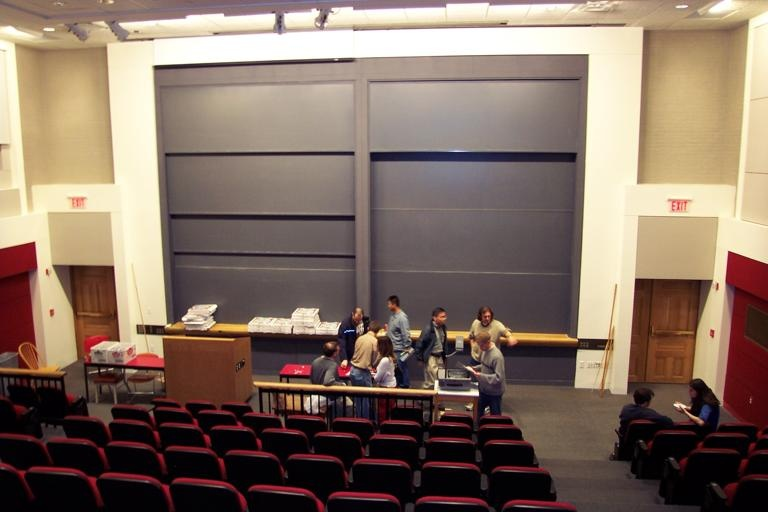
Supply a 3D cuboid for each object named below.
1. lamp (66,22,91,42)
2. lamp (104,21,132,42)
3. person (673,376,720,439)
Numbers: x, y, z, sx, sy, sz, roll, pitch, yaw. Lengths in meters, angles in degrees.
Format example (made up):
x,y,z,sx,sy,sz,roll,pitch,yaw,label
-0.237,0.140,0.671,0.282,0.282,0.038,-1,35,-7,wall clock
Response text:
x,y,z,sx,sy,sz,roll,pitch,yaw,label
-5.089,-3.764,9.730,0.287,0.316,0.469,0,4,-19,lamp
-4.380,-3.781,9.655,0.286,0.368,0.706,1,4,-14,lamp
4.856,2.504,9.085,0.680,1.074,0.565,0,7,19,person
